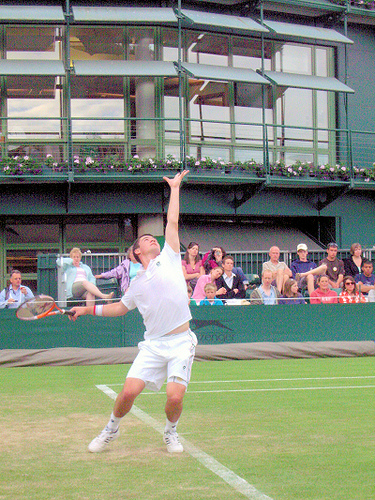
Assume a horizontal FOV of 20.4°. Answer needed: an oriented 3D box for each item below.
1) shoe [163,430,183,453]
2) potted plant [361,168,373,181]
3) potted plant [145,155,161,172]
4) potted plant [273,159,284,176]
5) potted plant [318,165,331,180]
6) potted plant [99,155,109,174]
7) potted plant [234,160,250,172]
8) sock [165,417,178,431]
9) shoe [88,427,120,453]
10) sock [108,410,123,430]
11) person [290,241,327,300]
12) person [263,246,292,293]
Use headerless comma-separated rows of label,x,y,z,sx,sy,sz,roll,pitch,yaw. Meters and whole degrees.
shoe,-0.157,1.987,10.909,0.200,0.218,0.196,1,12,-3
potted plant,4.099,-1.736,24.016,0.294,0.279,0.149,0,12,-9
potted plant,-0.774,-1.798,22.180,0.356,0.287,0.200,-9,16,-42
potted plant,2.018,-1.829,23.325,0.301,0.278,0.168,5,4,4
potted plant,3.093,-1.754,23.559,0.300,0.200,0.276,3,9,5
potted plant,-1.768,-1.812,22.013,0.283,0.301,0.173,0,-14,-8
potted plant,1.175,-1.849,22.907,0.224,0.244,0.255,-7,-5,26
sock,-0.175,1.815,10.862,0.109,0.172,0.089,1,12,-5
shoe,-0.874,1.993,10.914,0.409,0.149,0.163,-38,-14,-14
sock,-0.765,1.786,10.829,0.087,0.241,0.175,7,6,6
person,2.123,0.364,18.119,0.481,0.981,0.407,2,4,-16
person,1.539,0.369,18.093,0.458,0.631,0.991,4,38,2
